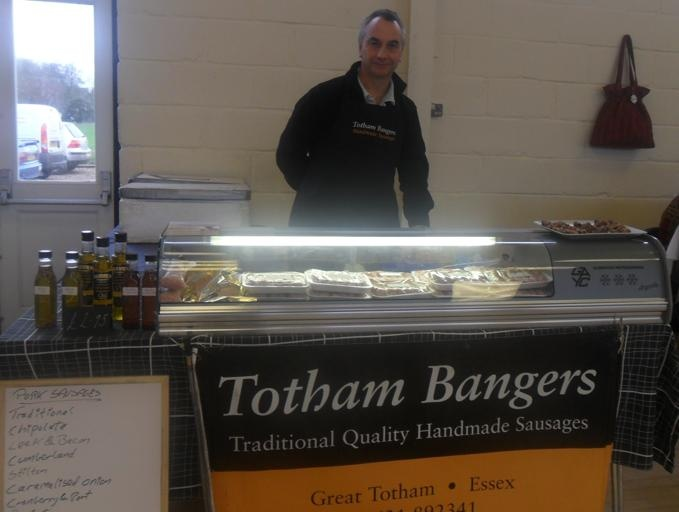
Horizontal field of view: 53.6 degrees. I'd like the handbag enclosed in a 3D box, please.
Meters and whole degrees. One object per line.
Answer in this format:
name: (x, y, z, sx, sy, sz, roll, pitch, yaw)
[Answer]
handbag: (1.828, -1.062, 4.336, 0.382, 0.721, 0.164, 0, 1, -8)
